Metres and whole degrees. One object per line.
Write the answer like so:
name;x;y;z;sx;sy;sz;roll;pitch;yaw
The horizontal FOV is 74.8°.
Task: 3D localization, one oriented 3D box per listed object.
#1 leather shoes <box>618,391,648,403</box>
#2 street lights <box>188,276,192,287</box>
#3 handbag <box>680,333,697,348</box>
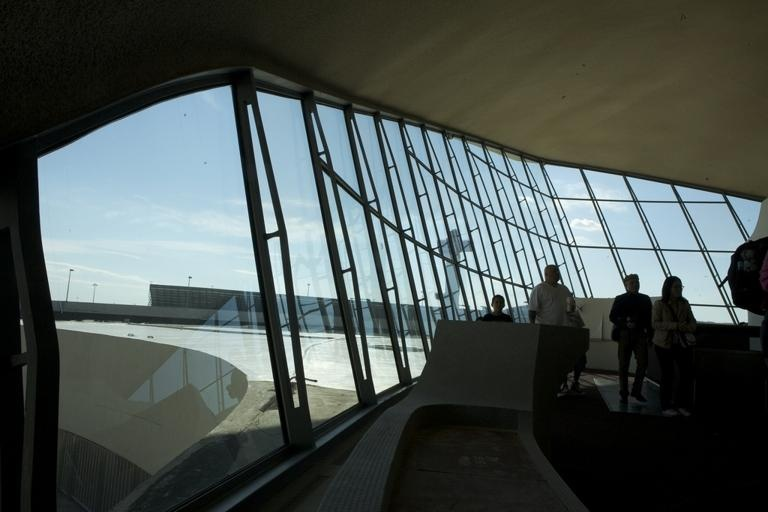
leather shoes;4.168;2.326;8.337;0.513;0.234;0.179;-2;-6;6
street lights;-1.942;0.239;5.041;0.008;0.098;0.064;0;-1;33
handbag;4.389;1.229;7.276;0.142;0.217;0.049;3;-12;10
